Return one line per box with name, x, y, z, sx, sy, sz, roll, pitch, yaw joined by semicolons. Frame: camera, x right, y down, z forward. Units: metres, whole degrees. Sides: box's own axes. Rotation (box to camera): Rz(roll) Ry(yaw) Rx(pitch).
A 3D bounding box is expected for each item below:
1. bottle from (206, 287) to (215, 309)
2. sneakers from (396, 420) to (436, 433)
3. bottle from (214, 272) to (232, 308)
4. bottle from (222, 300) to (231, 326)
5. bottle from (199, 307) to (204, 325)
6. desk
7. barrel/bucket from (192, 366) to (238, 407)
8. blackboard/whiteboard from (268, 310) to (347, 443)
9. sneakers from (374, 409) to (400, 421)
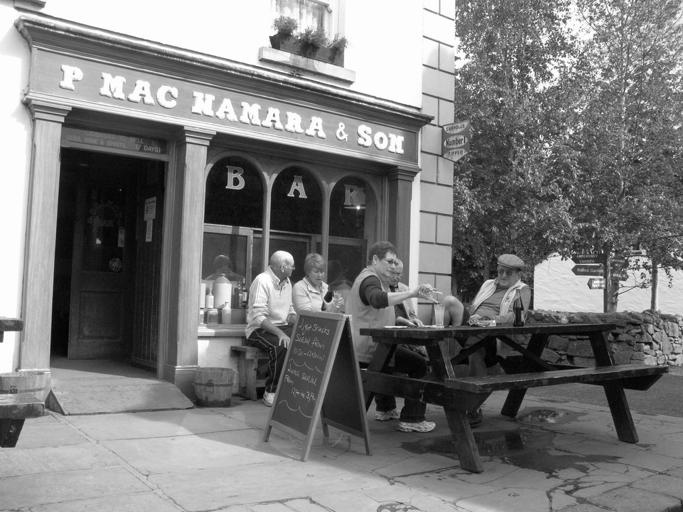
bottle;-1.813;0.594;8.694;0.113;0.245;0.075;0;4;-33
sneakers;0.833;1.850;6.941;0.390;0.202;0.147;-3;-1;-8
bottle;-1.650;0.488;8.810;0.280;0.459;0.182;0;4;-29
bottle;-1.578;0.777;8.772;0.099;0.309;0.154;5;5;40
bottle;-1.887;0.811;8.552;0.073;0.196;0.210;1;4;-12
desk;1.196;1.145;6.125;1.871;0.986;1.630;2;-2;-31
barrel/bucket;-1.577;1.612;7.852;0.445;0.353;0.455;2;-6;0
blackboard/whiteboard;-0.329;1.093;6.004;0.383;1.142;0.697;-1;5;-40
sneakers;0.537;1.867;7.416;0.205;0.097;0.128;4;-7;-26
